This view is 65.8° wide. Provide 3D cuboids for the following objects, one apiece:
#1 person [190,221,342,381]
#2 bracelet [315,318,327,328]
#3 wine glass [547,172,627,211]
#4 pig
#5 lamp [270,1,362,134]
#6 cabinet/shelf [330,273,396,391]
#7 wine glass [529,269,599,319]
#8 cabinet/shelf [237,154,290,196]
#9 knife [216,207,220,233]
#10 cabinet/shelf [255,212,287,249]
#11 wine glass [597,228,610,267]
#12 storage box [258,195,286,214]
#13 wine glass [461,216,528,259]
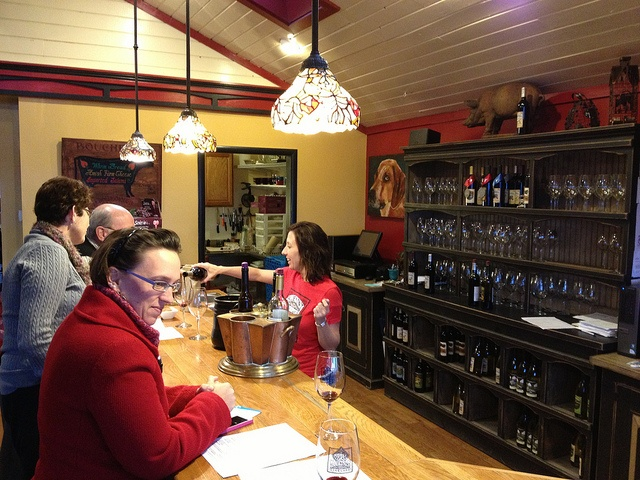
[{"bbox_3d":[-0.171,0.383,3.877,0.925,1.692,1.087,4,-3,-35],"label":"person"},{"bbox_3d":[0.002,0.503,3.050,0.058,0.042,0.054,-2,-3,-31],"label":"bracelet"},{"bbox_3d":[2.016,-0.358,3.674,0.295,0.279,0.733,-2,6,-23],"label":"wine glass"},{"bbox_3d":[1.520,-1.106,4.147,0.373,0.413,0.541,1,9,-19],"label":"pig"},{"bbox_3d":[-0.025,-0.785,2.182,0.329,0.589,0.268,4,7,34],"label":"lamp"},{"bbox_3d":[0.399,0.967,5.357,0.621,1.071,0.890,-1,4,-30],"label":"cabinet/shelf"},{"bbox_3d":[1.919,0.414,3.897,0.212,0.350,0.393,1,5,-21],"label":"wine glass"},{"bbox_3d":[-0.952,-1.083,7.983,0.521,0.795,1.516,2,4,-27],"label":"cabinet/shelf"},{"bbox_3d":[-1.650,-0.313,7.978,0.046,0.362,0.036,1,-1,-10],"label":"knife"},{"bbox_3d":[-0.695,-0.135,6.966,0.427,0.506,0.428,-1,4,-7],"label":"cabinet/shelf"},{"bbox_3d":[2.121,0.078,3.716,0.078,0.265,0.192,4,7,30],"label":"wine glass"},{"bbox_3d":[-0.653,-0.483,6.740,0.270,0.181,0.271,-1,7,-24],"label":"storage box"},{"bbox_3d":[1.527,-0.024,4.313,0.213,0.396,0.516,1,3,-23],"label":"wine glass"}]
